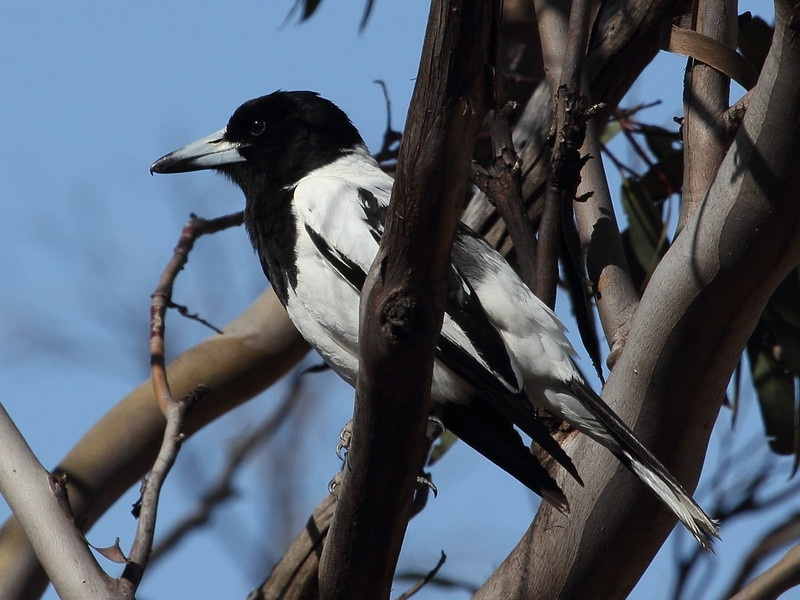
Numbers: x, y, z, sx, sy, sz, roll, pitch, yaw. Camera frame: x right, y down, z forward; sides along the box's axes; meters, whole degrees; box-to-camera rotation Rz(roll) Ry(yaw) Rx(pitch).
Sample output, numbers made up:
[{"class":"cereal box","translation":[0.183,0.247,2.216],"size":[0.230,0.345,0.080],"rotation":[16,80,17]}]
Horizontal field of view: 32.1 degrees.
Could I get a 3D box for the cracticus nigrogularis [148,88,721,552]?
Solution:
[{"class":"cracticus nigrogularis","translation":[0.273,-0.024,5.171],"size":[2.642,1.751,0.956],"rotation":[4,1,23]}]
